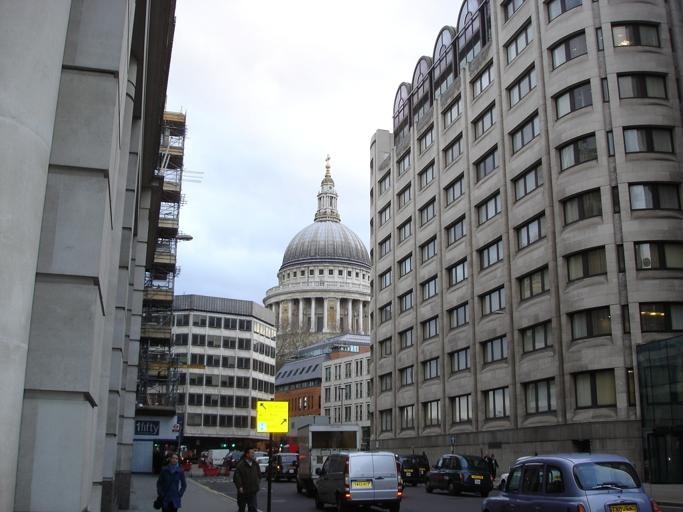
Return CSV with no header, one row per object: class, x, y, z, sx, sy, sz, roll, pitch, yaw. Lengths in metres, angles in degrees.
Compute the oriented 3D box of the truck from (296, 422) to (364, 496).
truck,-0.586,9.128,36.273,2.696,3.781,4.785,1,-16,-5
